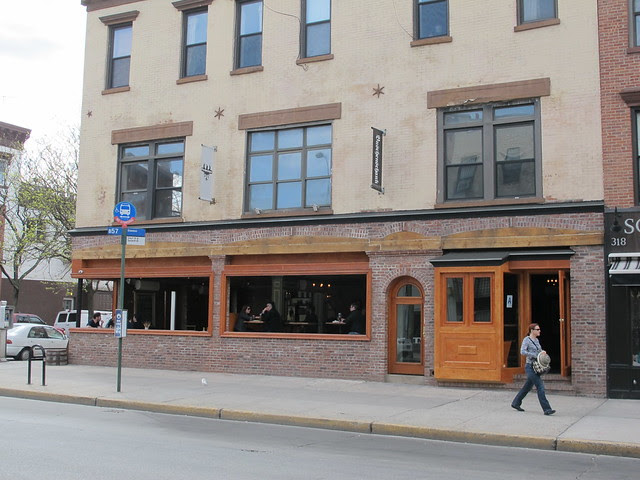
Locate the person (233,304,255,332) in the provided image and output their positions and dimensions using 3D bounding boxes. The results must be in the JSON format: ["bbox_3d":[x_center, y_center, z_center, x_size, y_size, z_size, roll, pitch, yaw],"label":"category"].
[{"bbox_3d":[-2.467,2.560,24.524,0.579,0.810,1.020,1,-1,-5],"label":"person"}]

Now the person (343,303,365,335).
[{"bbox_3d":[1.062,2.406,23.079,0.577,0.914,0.407,1,-1,2],"label":"person"}]

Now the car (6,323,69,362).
[{"bbox_3d":[-11.369,4.030,29.974,0.710,1.332,2.987,0,-2,23],"label":"car"}]

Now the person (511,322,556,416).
[{"bbox_3d":[4.939,2.973,17.525,0.961,1.999,1.198,0,-1,13],"label":"person"}]

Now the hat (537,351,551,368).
[{"bbox_3d":[5.029,2.729,17.176,0.340,0.328,0.113,-7,-5,-44],"label":"hat"}]

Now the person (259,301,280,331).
[{"bbox_3d":[-1.582,2.477,24.223,0.722,0.915,0.581,0,-1,10],"label":"person"}]

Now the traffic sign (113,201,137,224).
[{"bbox_3d":[-5.193,-0.694,20.190,0.444,0.593,0.487,1,-1,-6],"label":"traffic sign"}]

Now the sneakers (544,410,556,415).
[{"bbox_3d":[5.163,3.869,16.939,0.214,0.088,0.120,-6,-1,12],"label":"sneakers"}]

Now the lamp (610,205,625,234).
[{"bbox_3d":[7.761,-0.527,19.775,0.259,0.647,0.296,0,-1,33],"label":"lamp"}]
